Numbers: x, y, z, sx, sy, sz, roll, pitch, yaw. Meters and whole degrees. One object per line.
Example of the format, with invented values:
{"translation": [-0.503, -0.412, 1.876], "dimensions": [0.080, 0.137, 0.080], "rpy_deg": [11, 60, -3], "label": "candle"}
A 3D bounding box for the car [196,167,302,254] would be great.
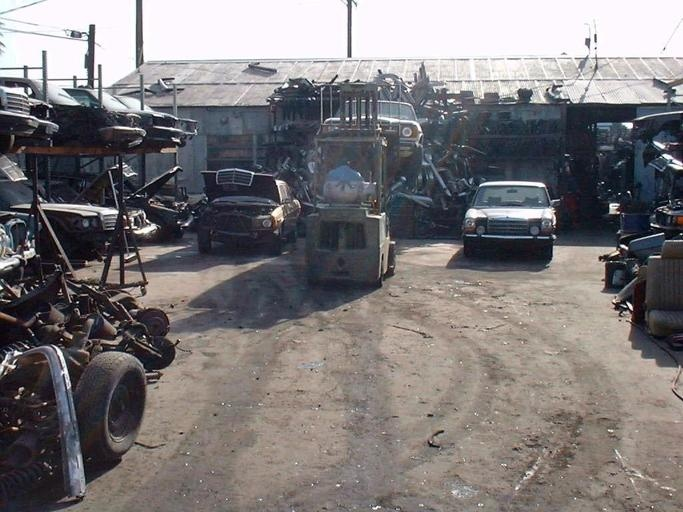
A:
{"translation": [-2.579, -1.225, 16.640], "dimensions": [2.157, 2.424, 2.590], "rpy_deg": [0, 13, 8], "label": "car"}

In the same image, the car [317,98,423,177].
{"translation": [1.527, -3.562, 17.494], "dimensions": [2.034, 1.723, 3.645], "rpy_deg": [1, 6, 9], "label": "car"}

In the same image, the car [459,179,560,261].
{"translation": [4.381, -0.821, 15.529], "dimensions": [2.180, 1.889, 2.215], "rpy_deg": [3, 14, 18], "label": "car"}

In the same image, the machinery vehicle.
{"translation": [0.171, -0.935, 11.843], "dimensions": [1.538, 3.099, 1.671], "rpy_deg": [0, 13, 10], "label": "machinery vehicle"}
